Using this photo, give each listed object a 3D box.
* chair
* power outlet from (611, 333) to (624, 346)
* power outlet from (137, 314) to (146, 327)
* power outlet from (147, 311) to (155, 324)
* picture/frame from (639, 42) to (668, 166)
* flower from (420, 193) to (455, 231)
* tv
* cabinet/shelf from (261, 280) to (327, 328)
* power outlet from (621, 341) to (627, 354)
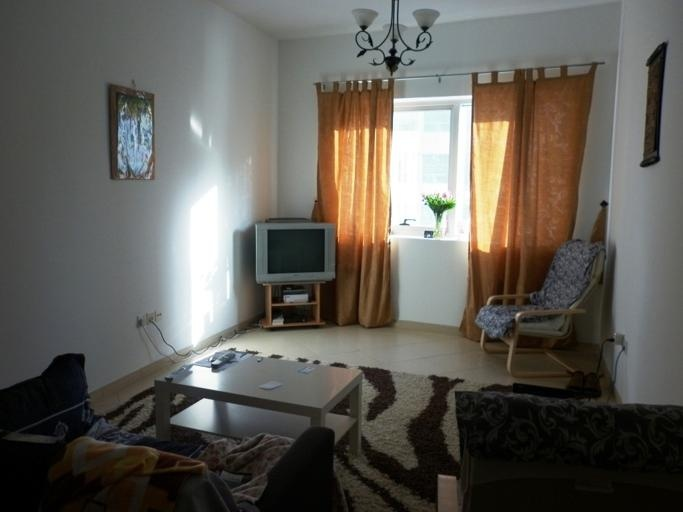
[{"bbox_3d":[1.736,0.404,4.924,1.097,1.492,0.992,-1,2,-4],"label":"chair"},{"bbox_3d":[1.941,0.581,3.724,0.072,0.101,0.141,1,3,17],"label":"power outlet"},{"bbox_3d":[-1.577,0.511,4.144,0.016,0.085,0.094,5,13,21],"label":"power outlet"},{"bbox_3d":[-1.525,0.483,4.242,0.016,0.075,0.107,6,13,24],"label":"power outlet"},{"bbox_3d":[1.852,-0.893,3.147,0.110,0.707,0.477,6,13,27],"label":"picture/frame"},{"bbox_3d":[0.983,-0.450,5.456,0.347,0.415,0.349,-1,3,-30],"label":"flower"},{"bbox_3d":[-0.478,-0.253,5.493,0.880,0.733,0.573,0,8,-11],"label":"tv"},{"bbox_3d":[-0.538,0.364,5.671,0.640,0.508,0.450,0,6,-10],"label":"cabinet/shelf"},{"bbox_3d":[1.958,0.628,3.639,0.021,0.082,0.071,7,-6,2],"label":"power outlet"}]
